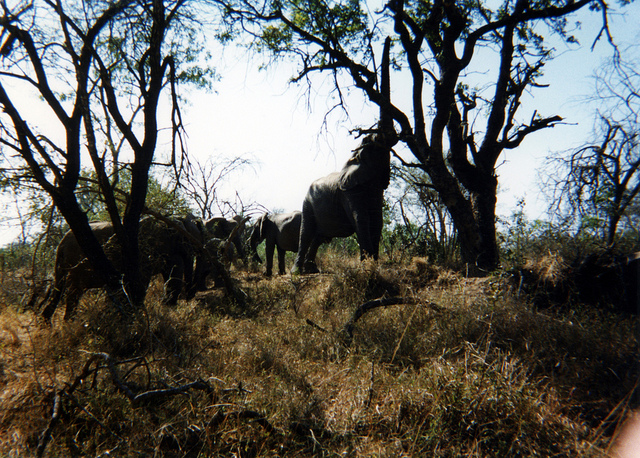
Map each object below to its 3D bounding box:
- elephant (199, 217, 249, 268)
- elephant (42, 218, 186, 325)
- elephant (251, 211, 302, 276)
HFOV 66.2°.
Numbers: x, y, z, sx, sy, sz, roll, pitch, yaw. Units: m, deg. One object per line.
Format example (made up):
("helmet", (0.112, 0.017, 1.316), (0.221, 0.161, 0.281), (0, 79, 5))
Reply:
("elephant", (-2.665, 0.194, 13.453), (1.873, 1.366, 0.889), (17, 25, 42))
("elephant", (-3.109, 0.456, 7.851), (1.181, 1.801, 2.744), (1, 1, 30))
("elephant", (-1.258, 0.488, 15.065), (2.156, 2.001, 0.984), (1, 0, 26))
